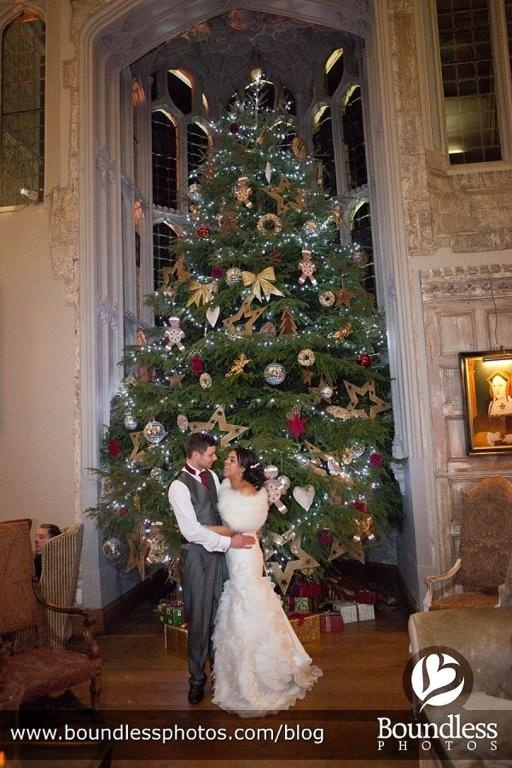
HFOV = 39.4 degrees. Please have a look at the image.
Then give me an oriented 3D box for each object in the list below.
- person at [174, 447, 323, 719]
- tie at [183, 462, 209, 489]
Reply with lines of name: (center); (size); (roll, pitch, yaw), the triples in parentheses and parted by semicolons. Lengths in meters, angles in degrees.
person: (-0.059, 1.159, 4.377); (1.020, 1.420, 0.785); (1, 0, -2)
tie: (-0.372, 0.563, 4.351); (0.079, 0.137, 0.152); (-18, -15, 25)
